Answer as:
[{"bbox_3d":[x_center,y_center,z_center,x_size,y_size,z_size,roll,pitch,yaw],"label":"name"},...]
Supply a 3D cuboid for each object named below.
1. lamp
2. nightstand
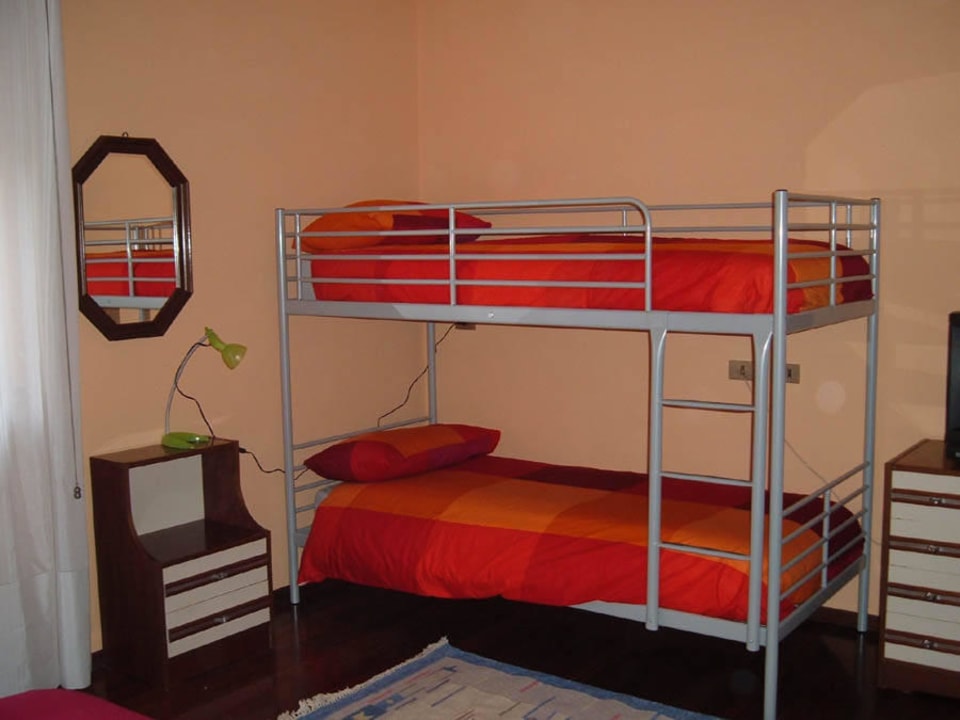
[{"bbox_3d":[-1.439,0.140,4.243,0.419,0.603,0.440,-5,11,-22],"label":"lamp"},{"bbox_3d":[-1.444,0.979,4.062,0.533,1.012,0.646,4,6,33],"label":"nightstand"}]
